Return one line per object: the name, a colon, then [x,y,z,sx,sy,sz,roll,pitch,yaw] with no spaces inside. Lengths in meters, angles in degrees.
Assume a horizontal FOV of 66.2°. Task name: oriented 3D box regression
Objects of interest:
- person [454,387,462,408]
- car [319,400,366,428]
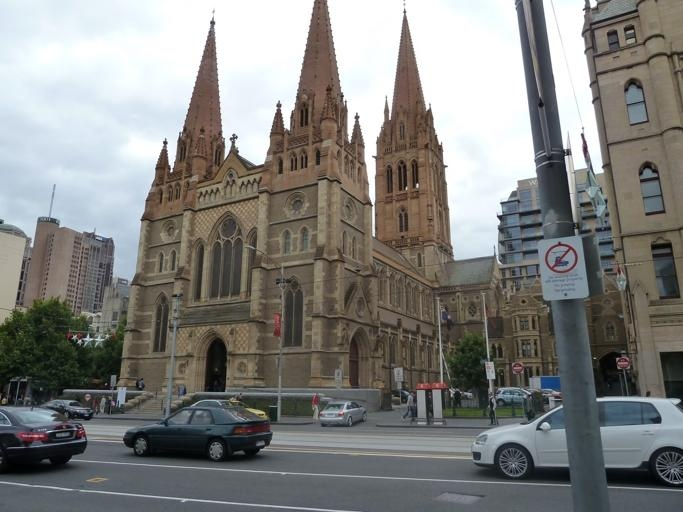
person: [8.306,10.207,37.319,0.356,1.261,2.649,-5,-17,14]
car: [0.260,9.192,30.444,1.233,0.882,2.734,-4,-11,19]
